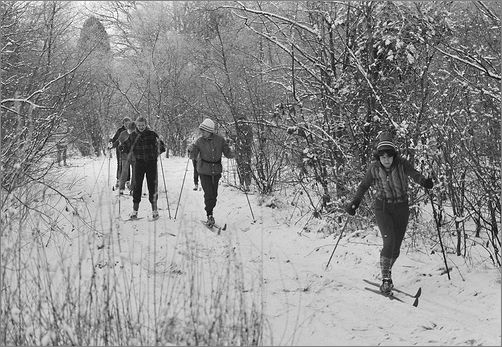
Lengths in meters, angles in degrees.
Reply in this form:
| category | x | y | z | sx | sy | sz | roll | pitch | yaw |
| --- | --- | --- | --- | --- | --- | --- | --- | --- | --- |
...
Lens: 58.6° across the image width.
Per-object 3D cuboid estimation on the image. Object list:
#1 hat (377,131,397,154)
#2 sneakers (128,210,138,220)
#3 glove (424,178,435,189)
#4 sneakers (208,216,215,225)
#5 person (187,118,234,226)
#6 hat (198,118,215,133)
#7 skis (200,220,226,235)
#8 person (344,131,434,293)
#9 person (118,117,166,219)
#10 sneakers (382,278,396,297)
| category | x | y | z | sx | sy | sz | roll | pitch | yaw |
| --- | --- | --- | --- | --- | --- | --- | --- | --- | --- |
| hat | 2.231 | -0.515 | 7.303 | 0.291 | 0.378 | 0.350 | -3 | -3 | 30 |
| sneakers | -2.825 | 1.007 | 10.814 | 0.132 | 0.228 | 0.223 | 3 | 15 | -42 |
| glove | 2.803 | 0.161 | 6.980 | 0.139 | 0.142 | 0.139 | 17 | 23 | 42 |
| sneakers | -0.914 | 1.103 | 10.405 | 0.128 | 0.211 | 0.205 | 1 | -3 | -34 |
| person | -0.919 | -0.027 | 10.457 | 0.978 | 2.538 | 0.594 | -1 | -2 | -9 |
| hat | -1.010 | -1.131 | 10.539 | 0.321 | 0.410 | 0.690 | -1 | -2 | -7 |
| skis | -0.842 | 1.252 | 10.393 | 0.219 | 0.130 | 0.674 | 12 | 5 | -22 |
| person | 2.288 | 0.626 | 7.321 | 1.227 | 2.612 | 0.477 | -2 | -3 | 21 |
| person | -2.622 | -0.106 | 10.790 | 0.995 | 2.453 | 0.867 | -3 | -3 | 40 |
| sneakers | 2.220 | 1.847 | 7.238 | 0.151 | 0.283 | 0.280 | 3 | -21 | 0 |
